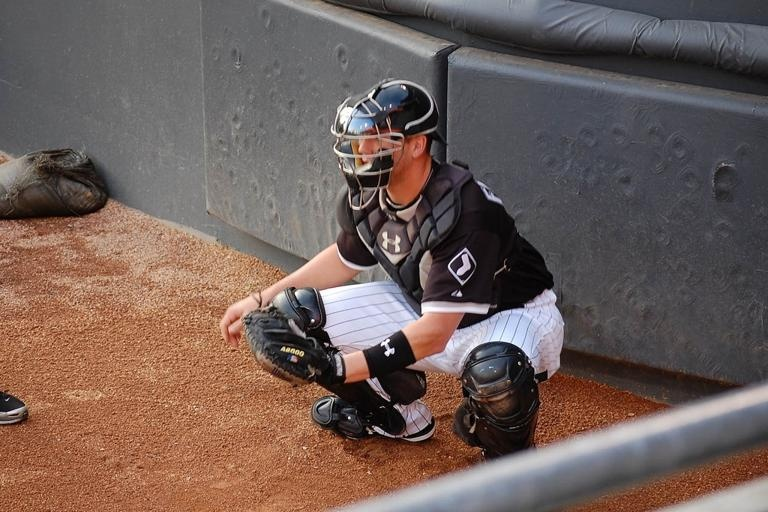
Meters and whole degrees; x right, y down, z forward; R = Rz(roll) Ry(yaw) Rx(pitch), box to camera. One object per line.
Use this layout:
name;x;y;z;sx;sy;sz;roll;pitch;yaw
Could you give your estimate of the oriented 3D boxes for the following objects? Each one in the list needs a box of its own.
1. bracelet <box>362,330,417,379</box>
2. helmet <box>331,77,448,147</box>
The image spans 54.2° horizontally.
bracelet;0.021;0.415;3.159;0.211;0.148;0.133;-28;-6;12
helmet;0.009;-0.636;3.117;0.360;0.207;0.254;-17;24;-18
